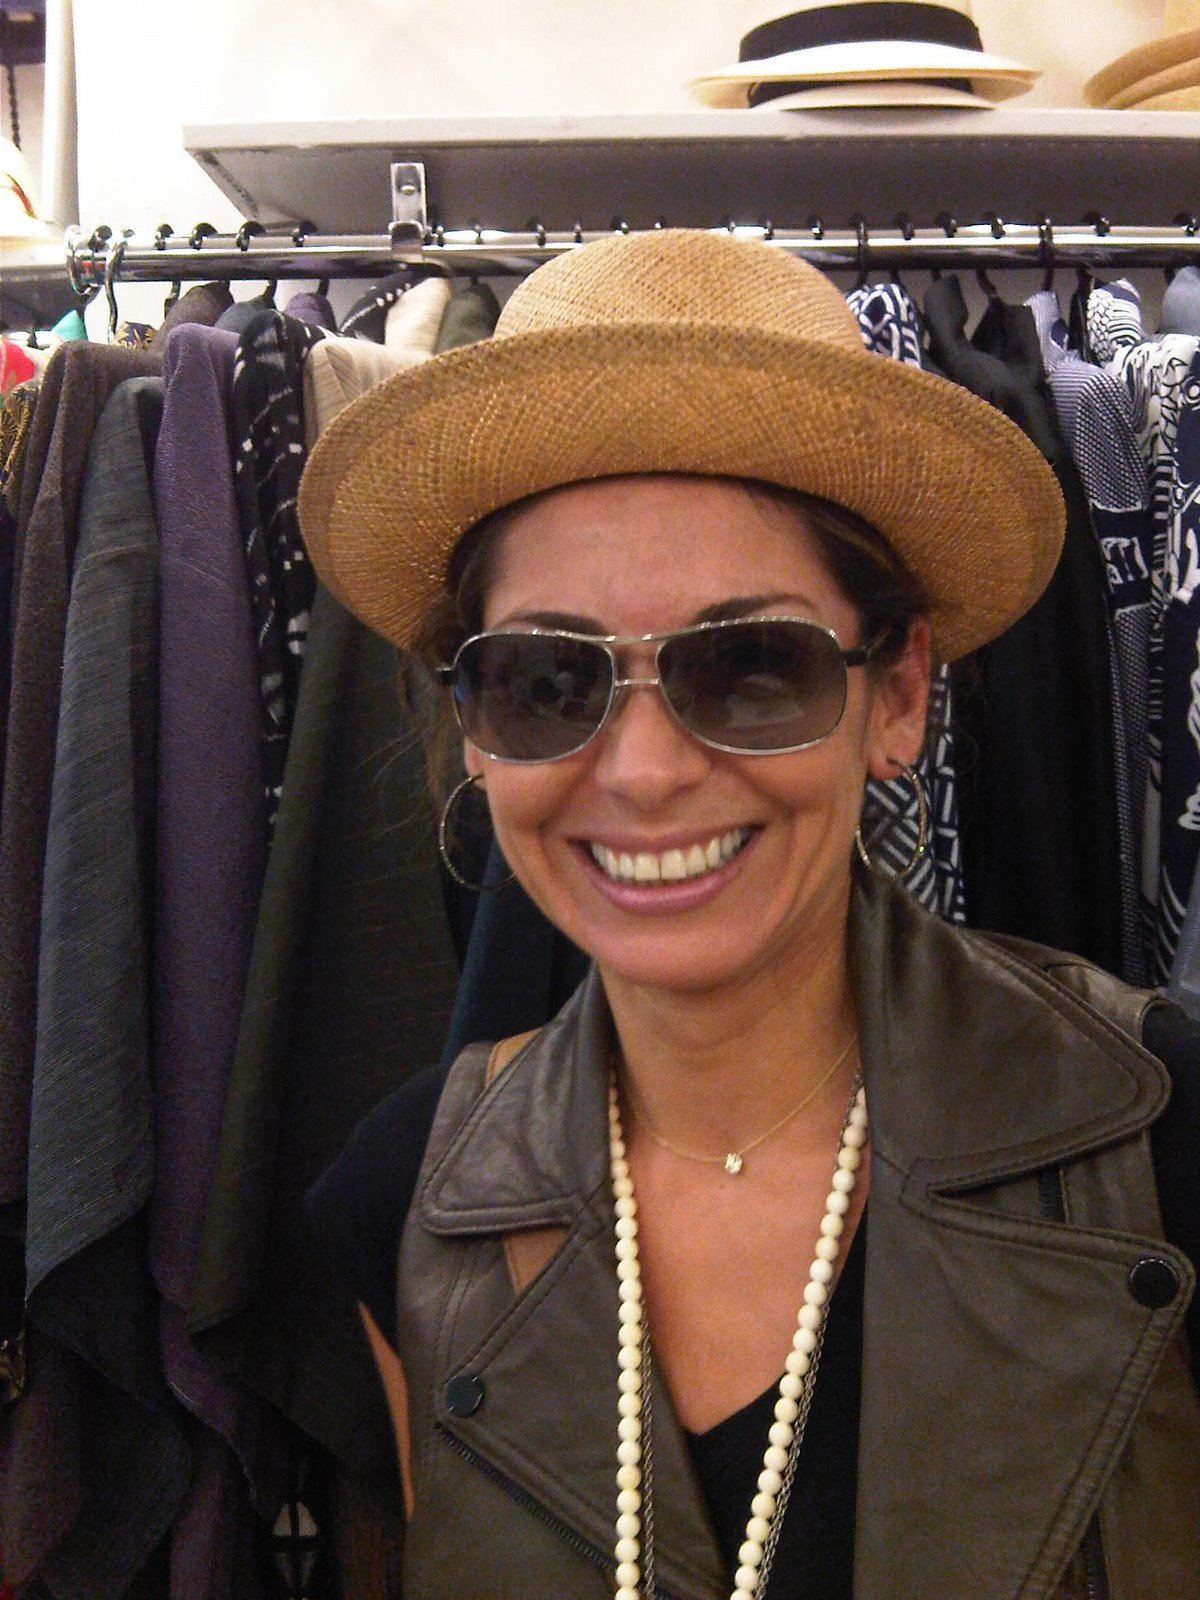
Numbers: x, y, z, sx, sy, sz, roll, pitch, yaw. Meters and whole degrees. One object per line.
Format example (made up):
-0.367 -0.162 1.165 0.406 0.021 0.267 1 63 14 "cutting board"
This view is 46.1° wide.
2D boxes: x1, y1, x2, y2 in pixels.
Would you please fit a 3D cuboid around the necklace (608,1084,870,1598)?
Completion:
0.094 0.339 0.963 0.176 0.255 0.295 0 9 0 "necklace"

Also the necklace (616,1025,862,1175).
0.098 0.212 1.023 0.100 0.106 0.024 -21 52 -6 "necklace"

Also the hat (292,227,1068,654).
0.082 -0.243 0.974 0.401 0.112 0.383 10 -29 -21 "hat"

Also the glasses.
0.020 -0.072 0.944 0.270 0.105 0.077 5 10 29 "glasses"
